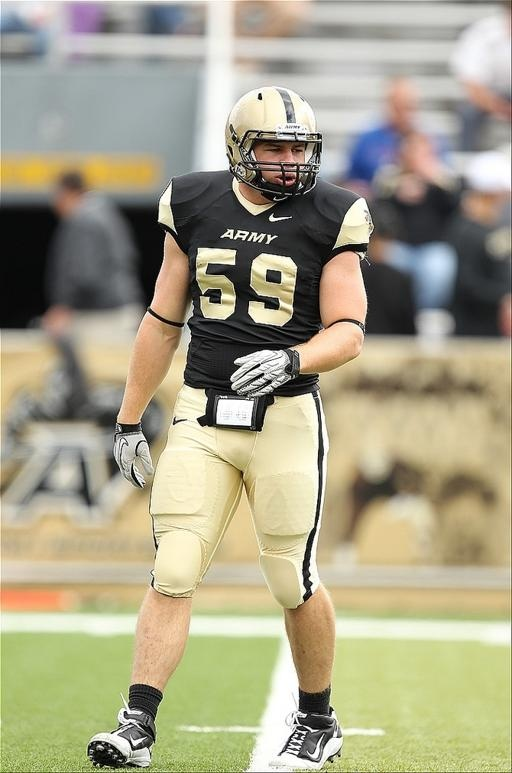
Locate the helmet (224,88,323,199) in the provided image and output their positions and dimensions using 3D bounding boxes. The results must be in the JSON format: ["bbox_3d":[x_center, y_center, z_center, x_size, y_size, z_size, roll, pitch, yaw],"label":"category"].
[{"bbox_3d":[0.043,-0.636,2.402,0.247,0.280,0.284,1,20,-1],"label":"helmet"}]

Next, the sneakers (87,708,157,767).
[{"bbox_3d":[-0.296,0.850,2.188,0.082,0.118,0.226,-1,-24,19],"label":"sneakers"}]

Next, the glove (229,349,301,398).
[{"bbox_3d":[0.025,-0.030,2.228,0.168,0.116,0.083,-2,20,-9],"label":"glove"}]

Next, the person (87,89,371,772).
[{"bbox_3d":[-0.075,0.132,2.428,0.690,1.754,0.712,3,21,5],"label":"person"}]

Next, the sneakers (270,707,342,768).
[{"bbox_3d":[0.146,0.943,2.487,0.094,0.121,0.267,-2,-4,26],"label":"sneakers"}]
